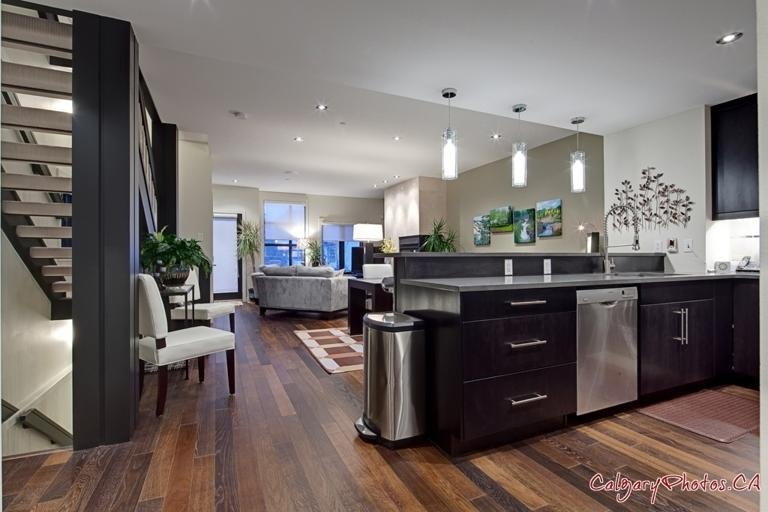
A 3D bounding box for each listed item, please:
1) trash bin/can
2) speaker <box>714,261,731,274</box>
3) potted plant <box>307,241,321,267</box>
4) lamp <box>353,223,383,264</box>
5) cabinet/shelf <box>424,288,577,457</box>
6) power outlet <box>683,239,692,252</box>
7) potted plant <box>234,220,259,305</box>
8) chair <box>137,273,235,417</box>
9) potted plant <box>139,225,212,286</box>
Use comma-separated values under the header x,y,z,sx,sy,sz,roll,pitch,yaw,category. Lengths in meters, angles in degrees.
x,y,z,sx,sy,sz,roll,pitch,yaw,category
0.058,1.000,3.899,0.589,0.980,0.262,0,4,4,trash bin/can
3.513,0.115,5.029,0.149,0.122,0.147,-2,3,-36,speaker
-1.667,-0.087,11.639,0.362,0.590,0.402,0,3,-5,potted plant
-0.325,-0.292,10.891,0.604,0.853,1.113,0,3,-1,lamp
0.900,0.863,4.217,1.576,1.570,1.063,0,-4,-28,cabinet/shelf
3.299,-0.118,5.242,0.018,0.182,0.128,-3,3,-32,power outlet
-2.994,0.077,10.835,0.564,1.747,0.588,-1,4,-18,potted plant
-1.899,0.747,4.522,0.837,1.216,0.754,-3,4,-37,chair
-2.289,0.030,5.206,0.532,0.489,0.685,6,-6,-31,potted plant
